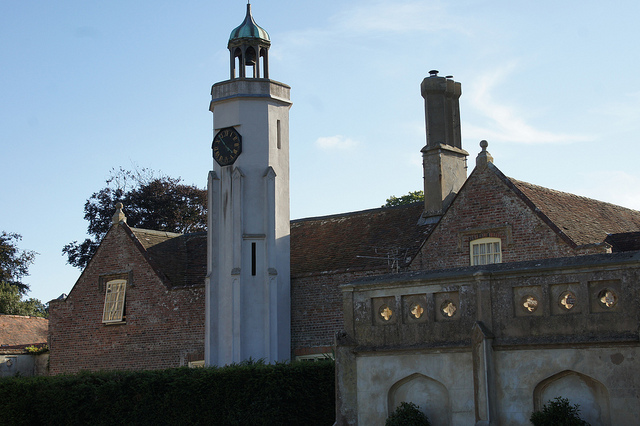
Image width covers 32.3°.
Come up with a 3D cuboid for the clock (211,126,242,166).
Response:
[{"bbox_3d":[-4.321,-3.130,51.576,1.587,1.571,0.559,-8,-2,42],"label":"clock"}]

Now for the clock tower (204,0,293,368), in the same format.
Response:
[{"bbox_3d":[-3.392,0.230,50.744,4.564,13.897,2.513,-6,-2,-8],"label":"clock tower"}]
